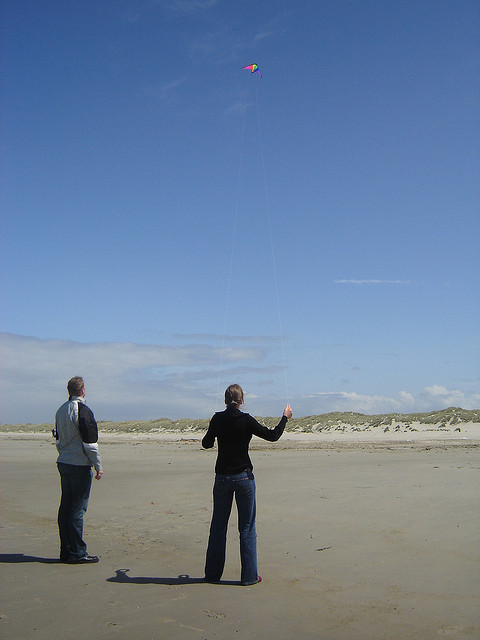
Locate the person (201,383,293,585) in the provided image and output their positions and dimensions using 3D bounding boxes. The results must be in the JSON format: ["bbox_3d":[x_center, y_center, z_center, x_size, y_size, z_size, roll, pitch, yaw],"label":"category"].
[{"bbox_3d":[-0.050,1.537,5.607,0.664,1.860,0.682,8,-6,-42],"label":"person"}]

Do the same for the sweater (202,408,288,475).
[{"bbox_3d":[0.024,1.164,5.669,0.760,0.609,0.379,3,-4,1],"label":"sweater"}]

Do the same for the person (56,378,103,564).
[{"bbox_3d":[-1.684,1.680,6.253,0.633,1.650,0.257,2,-5,23],"label":"person"}]
